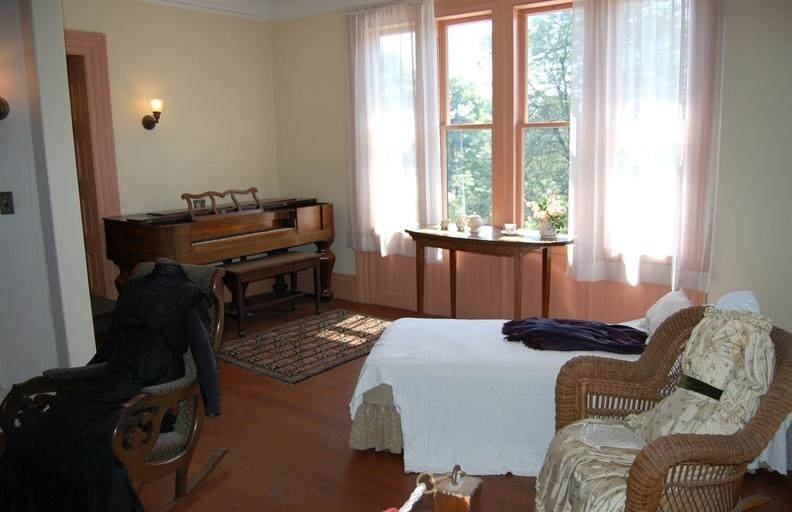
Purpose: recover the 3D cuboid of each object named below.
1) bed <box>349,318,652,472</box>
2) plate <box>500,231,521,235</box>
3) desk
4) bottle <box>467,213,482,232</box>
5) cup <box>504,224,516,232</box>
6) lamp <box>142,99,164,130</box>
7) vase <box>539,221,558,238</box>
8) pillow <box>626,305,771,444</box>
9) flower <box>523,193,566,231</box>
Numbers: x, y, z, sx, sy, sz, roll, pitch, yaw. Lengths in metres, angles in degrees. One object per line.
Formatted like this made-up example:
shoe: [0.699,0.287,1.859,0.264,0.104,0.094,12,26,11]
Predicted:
bed: [0.549,0.981,4.134,1.627,0.556,1.000,0,11,8]
plate: [1.179,-0.251,5.827,0.191,0.033,0.218,-1,11,10]
desk: [1.062,0.269,5.917,1.554,0.984,0.669,2,13,18]
bottle: [0.851,-0.366,5.974,0.176,0.206,0.167,1,-1,21]
cup: [1.197,-0.291,5.844,0.116,0.077,0.088,0,3,-15]
lamp: [-2.692,-1.580,6.294,0.259,0.329,0.191,-12,15,-37]
vase: [1.504,-0.270,5.535,0.163,0.154,0.164,2,7,13]
pillow: [1.753,0.705,3.233,0.524,0.717,0.653,30,1,-6]
flower: [1.543,-0.436,5.776,0.422,0.404,0.401,4,5,42]
